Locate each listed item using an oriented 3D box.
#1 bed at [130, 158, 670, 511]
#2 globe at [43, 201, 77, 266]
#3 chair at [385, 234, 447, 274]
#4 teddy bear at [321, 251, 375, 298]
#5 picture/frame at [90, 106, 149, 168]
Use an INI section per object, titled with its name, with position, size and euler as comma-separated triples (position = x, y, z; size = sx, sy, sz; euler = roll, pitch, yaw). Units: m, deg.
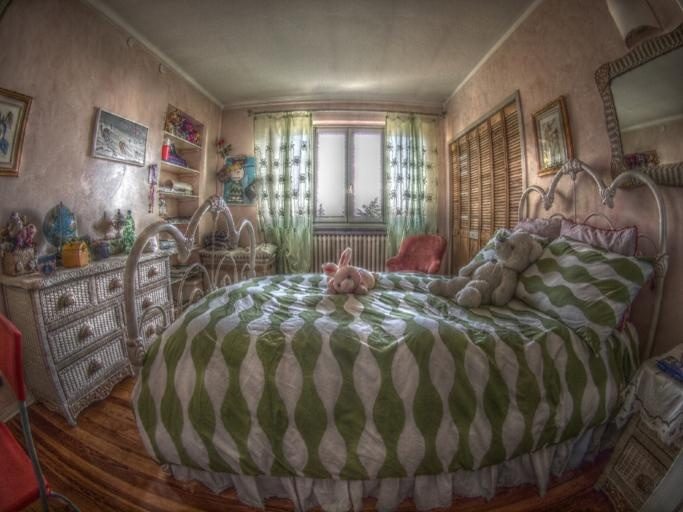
[bed]
position = 0.425, 0.612, 3.056
size = 2.619, 1.938, 1.997
euler = 3, 0, 5
[globe]
position = -2.159, -0.179, 3.131
size = 0.220, 0.431, 0.237
euler = 0, 7, -6
[chair]
position = 0.803, -0.009, 4.319
size = 0.410, 0.594, 0.476
euler = 5, -7, 30
[teddy bear]
position = 0.030, 0.152, 3.165
size = 0.288, 0.370, 0.462
euler = -17, -6, 12
[picture/frame]
position = -1.940, -1.039, 3.512
size = 0.070, 0.476, 0.583
euler = 9, 1, 20
